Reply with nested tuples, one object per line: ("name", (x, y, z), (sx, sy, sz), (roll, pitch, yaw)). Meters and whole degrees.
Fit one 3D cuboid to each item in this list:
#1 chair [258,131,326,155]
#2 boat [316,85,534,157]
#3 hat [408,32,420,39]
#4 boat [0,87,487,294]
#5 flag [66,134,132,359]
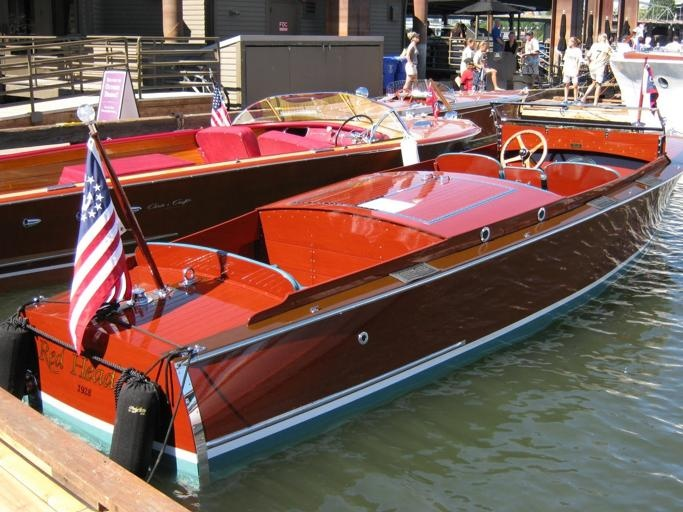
("chair", (-0.692, -1.556, 8.171), (0.921, 0.318, 0.763), (-1, 19, 17))
("boat", (2.218, -2.678, 11.499), (5.238, 1.390, 1.435), (-14, 34, -31))
("hat", (1.855, -5.578, 14.955), (0.395, 0.166, 0.493), (0, 16, 4))
("boat", (-0.596, -1.715, 8.095), (7.734, 1.361, 2.459), (-17, 24, -35))
("flag", (-1.433, -0.073, 3.386), (0.239, 1.184, 0.427), (1, 16, 8))
